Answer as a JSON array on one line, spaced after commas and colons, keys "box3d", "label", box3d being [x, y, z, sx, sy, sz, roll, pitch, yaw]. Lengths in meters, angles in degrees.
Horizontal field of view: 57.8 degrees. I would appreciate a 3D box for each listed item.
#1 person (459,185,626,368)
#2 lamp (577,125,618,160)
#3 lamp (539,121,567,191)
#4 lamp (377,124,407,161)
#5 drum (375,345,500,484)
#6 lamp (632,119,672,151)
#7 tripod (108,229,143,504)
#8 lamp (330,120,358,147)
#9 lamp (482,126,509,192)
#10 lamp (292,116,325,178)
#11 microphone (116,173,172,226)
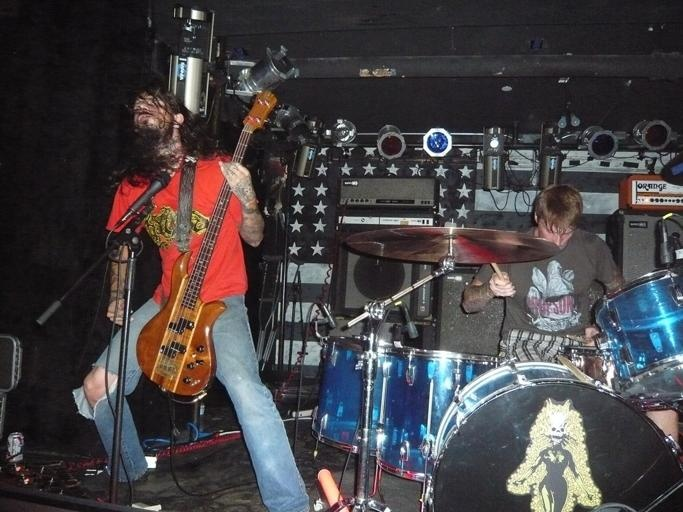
[{"box3d": [1.614, 0.224, 4.625, 1.108, 1.451, 0.814, -1, 18, 8], "label": "person"}, {"box3d": [2.749, -1.207, 6.589, 0.382, 0.354, 0.281, 3, 3, 21], "label": "lamp"}, {"box3d": [2.307, -1.088, 6.747, 0.266, 0.733, 0.314, 2, 3, 10], "label": "lamp"}, {"box3d": [0.578, -1.296, 7.007, 0.352, 0.346, 0.518, 4, 23, 8], "label": "lamp"}, {"box3d": [0.743, 1.059, 4.320, 0.987, 0.934, 0.989, 4, -19, -7], "label": "drum"}, {"box3d": [3.313, -1.279, 6.564, 0.392, 0.324, 0.244, 3, 4, 25], "label": "lamp"}, {"box3d": [-1.267, 0.634, 3.633, 0.150, 1.582, 0.379, 1, 3, -12], "label": "tripod"}, {"box3d": [0.029, -1.409, 7.052, 0.257, 0.294, 0.294, 2, 3, 2], "label": "lamp"}, {"box3d": [1.735, -1.115, 6.972, 0.243, 0.695, 0.243, -2, 10, 10], "label": "lamp"}, {"box3d": [-0.343, -1.170, 6.660, 0.289, 0.604, 0.254, 17, 14, 15], "label": "lamp"}, {"box3d": [-1.229, -0.357, 3.902, 0.101, 0.400, 0.100, 36, -16, 34], "label": "microphone"}]
